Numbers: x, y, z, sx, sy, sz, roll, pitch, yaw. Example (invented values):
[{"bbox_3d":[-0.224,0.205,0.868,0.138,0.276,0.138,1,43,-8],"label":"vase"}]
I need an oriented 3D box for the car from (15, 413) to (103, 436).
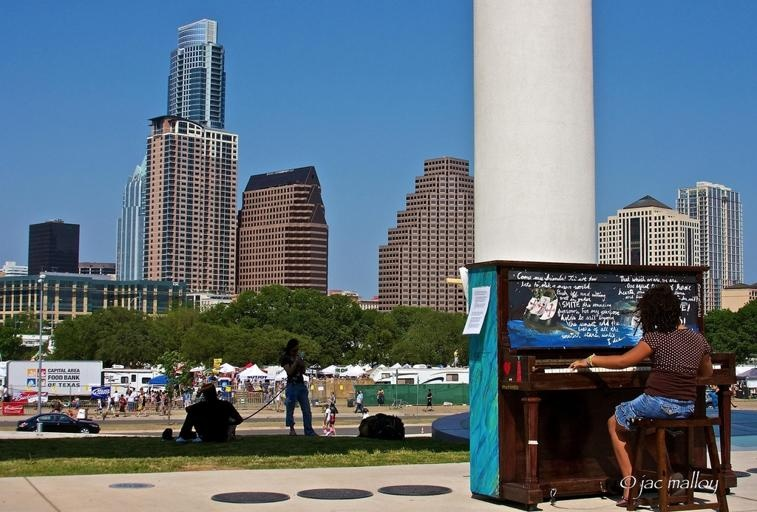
[{"bbox_3d":[-14.296,7.543,60.906,3.726,0.983,1.500,0,-3,-11],"label":"car"}]

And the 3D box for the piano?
[{"bbox_3d":[4.959,3.145,31.879,6.071,5.252,3.095,2,-7,-19],"label":"piano"}]

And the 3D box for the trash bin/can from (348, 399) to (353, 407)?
[{"bbox_3d":[-1.966,9.738,90.020,0.311,0.520,0.576,0,0,-33],"label":"trash bin/can"}]
